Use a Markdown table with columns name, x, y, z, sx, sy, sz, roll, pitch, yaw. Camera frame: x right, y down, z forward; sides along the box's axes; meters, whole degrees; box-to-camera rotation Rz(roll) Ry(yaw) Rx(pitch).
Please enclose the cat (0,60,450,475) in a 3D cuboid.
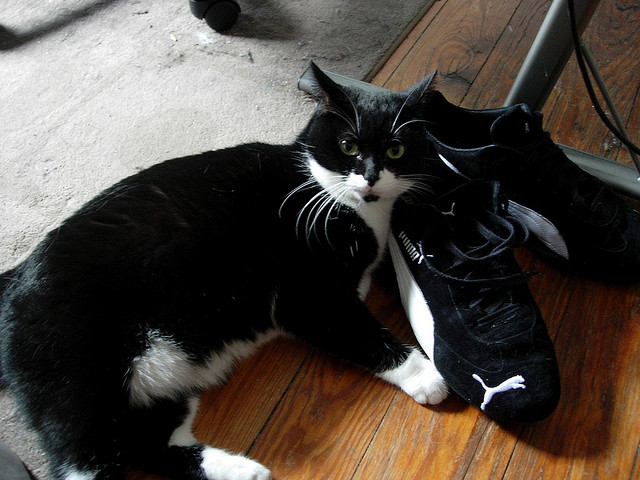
| name | x | y | z | sx | sy | sz | roll | pitch | yaw |
| --- | --- | --- | --- | --- | --- | --- | --- | --- | --- |
| cat | -0.214 | 0.139 | 1.456 | 1.264 | 0.440 | 0.742 | -26 | 56 | -2 |
